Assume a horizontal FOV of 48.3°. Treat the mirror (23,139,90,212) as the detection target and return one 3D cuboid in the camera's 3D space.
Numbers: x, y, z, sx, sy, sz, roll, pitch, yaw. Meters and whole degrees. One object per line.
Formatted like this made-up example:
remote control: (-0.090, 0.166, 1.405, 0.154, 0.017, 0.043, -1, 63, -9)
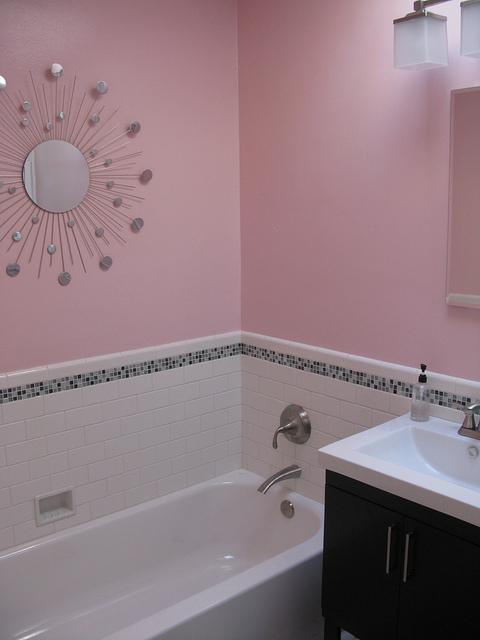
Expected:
mirror: (-0.714, -0.555, 2.069, 0.070, 0.185, 0.262, -7, -2, 40)
